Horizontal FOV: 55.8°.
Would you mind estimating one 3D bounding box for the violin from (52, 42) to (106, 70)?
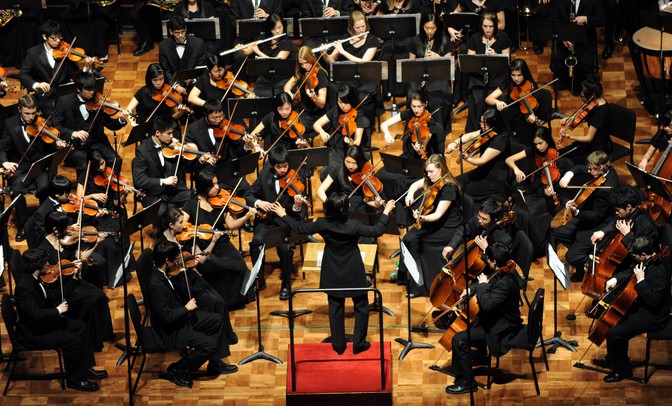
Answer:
[{"bbox_3d":[-4.617,-2.640,11.278,0.981,0.407,0.182,23,-15,-16],"label":"violin"}]

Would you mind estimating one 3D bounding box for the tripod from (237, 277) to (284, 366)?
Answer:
[{"bbox_3d":[-1.054,1.619,8.923,0.354,1.220,0.582,-1,-1,20],"label":"tripod"}]

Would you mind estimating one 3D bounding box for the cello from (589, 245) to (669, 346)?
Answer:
[{"bbox_3d":[3.779,1.255,8.289,0.895,1.226,0.410,-2,-4,26],"label":"cello"}]

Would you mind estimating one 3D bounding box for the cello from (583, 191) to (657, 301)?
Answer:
[{"bbox_3d":[3.887,0.637,8.782,0.611,1.637,0.855,3,-3,5],"label":"cello"}]

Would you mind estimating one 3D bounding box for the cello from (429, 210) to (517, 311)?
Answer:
[{"bbox_3d":[1.844,0.783,8.476,0.409,1.849,0.748,29,21,-7],"label":"cello"}]

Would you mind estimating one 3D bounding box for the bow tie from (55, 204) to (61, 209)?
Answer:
[{"bbox_3d":[-4.050,0.056,9.249,0.057,0.056,0.013,-16,-4,-30],"label":"bow tie"}]

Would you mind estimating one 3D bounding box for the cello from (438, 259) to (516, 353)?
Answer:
[{"bbox_3d":[1.672,1.427,8.051,0.465,1.443,0.680,36,20,4],"label":"cello"}]

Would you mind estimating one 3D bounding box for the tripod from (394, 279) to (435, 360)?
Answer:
[{"bbox_3d":[1.084,1.680,8.867,0.216,0.948,0.458,-1,-5,30],"label":"tripod"}]
